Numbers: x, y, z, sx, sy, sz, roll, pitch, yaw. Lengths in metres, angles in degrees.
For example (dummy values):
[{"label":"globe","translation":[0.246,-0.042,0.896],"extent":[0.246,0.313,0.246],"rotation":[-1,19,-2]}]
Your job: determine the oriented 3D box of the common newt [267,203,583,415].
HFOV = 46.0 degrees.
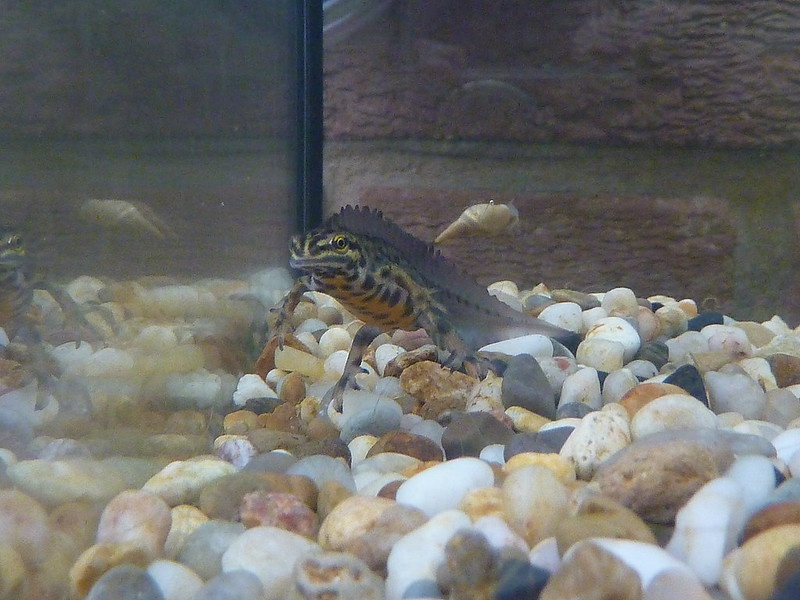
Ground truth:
[{"label":"common newt","translation":[0.025,-0.048,3.478],"extent":[1.102,0.671,0.450],"rotation":[-16,33,-33]}]
